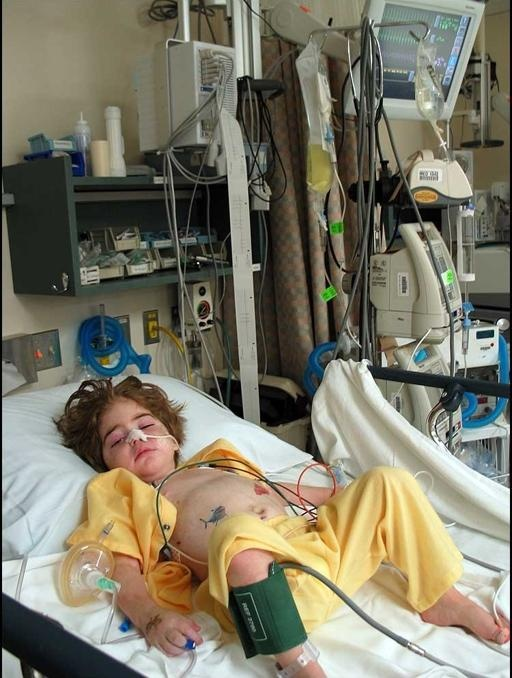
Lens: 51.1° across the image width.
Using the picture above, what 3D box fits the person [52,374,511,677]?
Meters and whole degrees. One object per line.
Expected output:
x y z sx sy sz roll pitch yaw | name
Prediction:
-0.085 0.330 1.257 0.478 0.302 0.712 4 -6 -44 | person

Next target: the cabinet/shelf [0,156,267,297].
-0.450 -0.448 2.112 0.452 0.352 0.955 -4 9 38 | cabinet/shelf

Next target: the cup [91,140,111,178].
-0.542 -0.621 1.840 0.073 0.090 0.096 -10 7 -14 | cup
